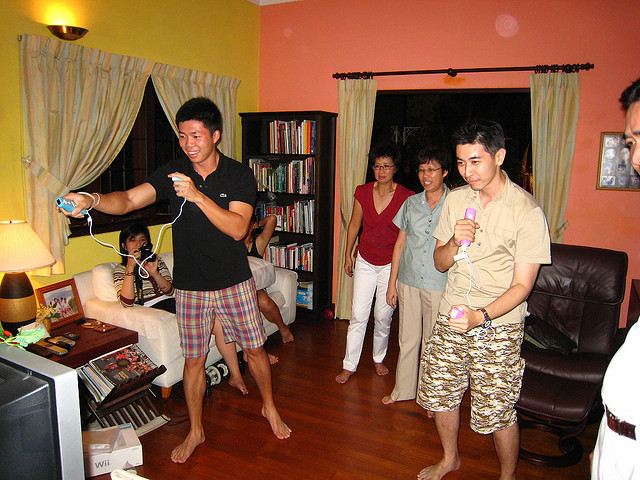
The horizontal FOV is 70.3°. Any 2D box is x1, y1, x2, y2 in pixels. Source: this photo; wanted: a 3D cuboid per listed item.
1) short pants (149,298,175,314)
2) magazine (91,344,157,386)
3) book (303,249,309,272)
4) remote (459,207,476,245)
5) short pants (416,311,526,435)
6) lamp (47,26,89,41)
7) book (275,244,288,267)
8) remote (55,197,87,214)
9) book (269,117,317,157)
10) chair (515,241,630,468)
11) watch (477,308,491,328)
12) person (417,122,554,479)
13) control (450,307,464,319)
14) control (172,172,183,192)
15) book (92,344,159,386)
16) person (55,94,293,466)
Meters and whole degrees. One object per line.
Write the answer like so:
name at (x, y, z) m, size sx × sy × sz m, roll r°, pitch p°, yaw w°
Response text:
short pants at (-1.253, 0.516, 3.692) m, size 0.213 × 0.072 × 0.171 m, roll 4°, pitch 13°, yaw 10°
magazine at (-1.343, 0.864, 3.114) m, size 0.326 × 0.020 × 0.459 m, roll -10°, pitch 19°, yaw -42°
book at (-0.157, 0.228, 5.114) m, size 0.037 × 0.192 × 0.174 m, roll 1°, pitch 2°, yaw 15°
remote at (0.776, -0.076, 2.369) m, size 0.067 × 0.184 × 0.168 m, roll 5°, pitch 12°, yaw 19°
short pants at (0.830, 0.717, 2.510) m, size 0.527 × 0.651 × 0.191 m, roll 8°, pitch 13°, yaw 31°
lamp at (-1.951, -1.589, 3.494) m, size 0.245 × 0.091 × 0.165 m, roll 4°, pitch 13°, yaw 12°
book at (-0.440, 0.189, 5.190) m, size 0.103 × 0.207 × 0.197 m, roll 2°, pitch 6°, yaw 29°
remote at (-1.296, -0.181, 2.322) m, size 0.095 × 0.074 × 0.042 m, roll -6°, pitch 13°, yaw -31°
book at (-0.284, -1.139, 5.036) m, size 0.373 × 0.403 × 0.137 m, roll 10°, pitch 21°, yaw 37°
chair at (1.710, 0.774, 3.215) m, size 0.688 × 1.081 × 1.007 m, roll 4°, pitch 26°, yaw 42°
watch at (0.815, 0.381, 2.246) m, size 0.046 × 0.083 × 0.083 m, roll -12°, pitch 48°, yaw -7°
person at (0.843, 0.442, 2.394) m, size 0.602 × 2.061 × 0.481 m, roll 6°, pitch 12°, yaw 25°
control at (0.658, 0.348, 2.172) m, size 0.060 × 0.050 × 0.024 m, roll 3°, pitch 11°, yaw 6°
control at (-0.734, -0.289, 2.346) m, size 0.045 × 0.071 × 0.018 m, roll 5°, pitch 11°, yaw 21°
book at (-1.353, 0.866, 3.131) m, size 0.381 × 0.053 × 0.426 m, roll -5°, pitch 18°, yaw -35°
person at (-0.762, 0.253, 2.801) m, size 1.122 × 2.183 × 0.635 m, roll -6°, pitch 13°, yaw -34°
